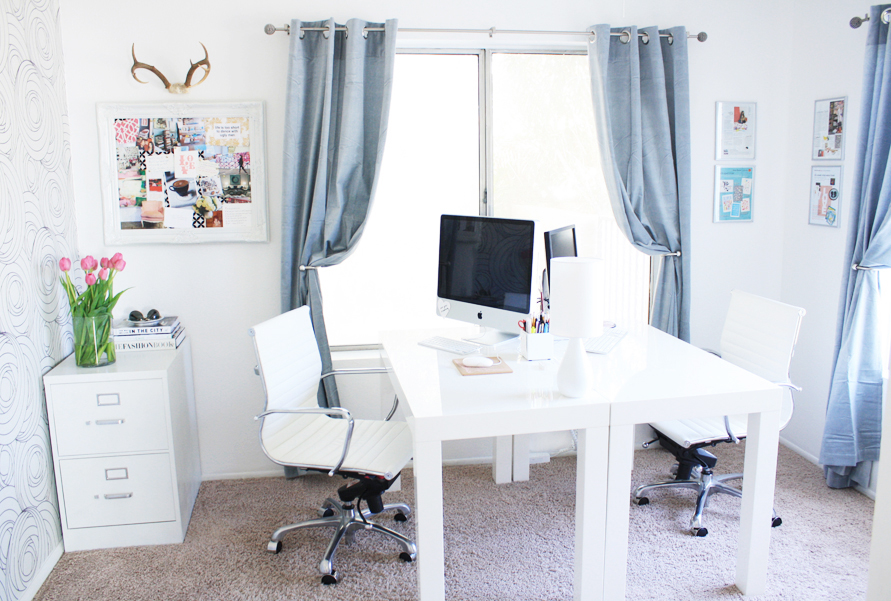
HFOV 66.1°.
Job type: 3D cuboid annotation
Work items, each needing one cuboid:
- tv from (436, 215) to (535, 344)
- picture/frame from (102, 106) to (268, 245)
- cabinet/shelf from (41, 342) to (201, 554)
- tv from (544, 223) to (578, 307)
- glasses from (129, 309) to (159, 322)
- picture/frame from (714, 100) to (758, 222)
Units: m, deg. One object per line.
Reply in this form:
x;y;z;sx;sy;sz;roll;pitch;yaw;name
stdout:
0.227;-0.122;3.882;0.647;0.685;0.237;7;8;38;tv
-1.638;-0.800;4.216;0.787;0.734;0.036;-1;8;-2;picture/frame
-1.689;0.820;4.313;0.678;1.188;1.063;-2;5;-8;cabinet/shelf
0.670;-0.213;4.007;0.177;0.398;0.537;0;14;11;tv
-1.821;0.098;4.152;0.121;0.056;0.096;-2;7;-23;glasses
1.935;-0.921;4.598;0.292;0.778;0.096;-4;14;-6;picture/frame
